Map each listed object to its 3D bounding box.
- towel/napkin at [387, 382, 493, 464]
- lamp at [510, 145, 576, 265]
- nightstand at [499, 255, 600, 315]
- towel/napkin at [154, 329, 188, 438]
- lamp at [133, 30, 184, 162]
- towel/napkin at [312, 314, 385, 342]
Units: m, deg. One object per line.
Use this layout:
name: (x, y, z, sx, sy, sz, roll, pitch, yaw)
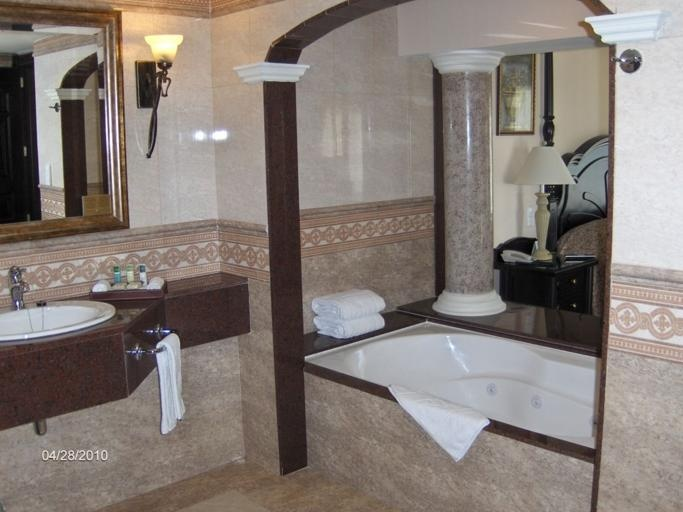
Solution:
towel/napkin: (0.449, 0.734, 2.558, 0.343, 0.094, 0.231, 24, -13, 43)
lamp: (1.614, -0.427, 4.477, 0.430, 0.876, 0.470, 0, 10, 17)
nightstand: (1.671, 0.340, 4.479, 0.687, 0.633, 0.469, -10, 14, -30)
towel/napkin: (-0.811, 0.595, 2.679, 0.072, 0.426, 0.206, -2, 10, 3)
lamp: (-0.971, -0.864, 3.058, 0.252, 0.666, 0.232, -7, 11, -25)
towel/napkin: (0.034, 0.431, 3.478, 0.218, 0.075, 0.226, 2, 7, 29)
